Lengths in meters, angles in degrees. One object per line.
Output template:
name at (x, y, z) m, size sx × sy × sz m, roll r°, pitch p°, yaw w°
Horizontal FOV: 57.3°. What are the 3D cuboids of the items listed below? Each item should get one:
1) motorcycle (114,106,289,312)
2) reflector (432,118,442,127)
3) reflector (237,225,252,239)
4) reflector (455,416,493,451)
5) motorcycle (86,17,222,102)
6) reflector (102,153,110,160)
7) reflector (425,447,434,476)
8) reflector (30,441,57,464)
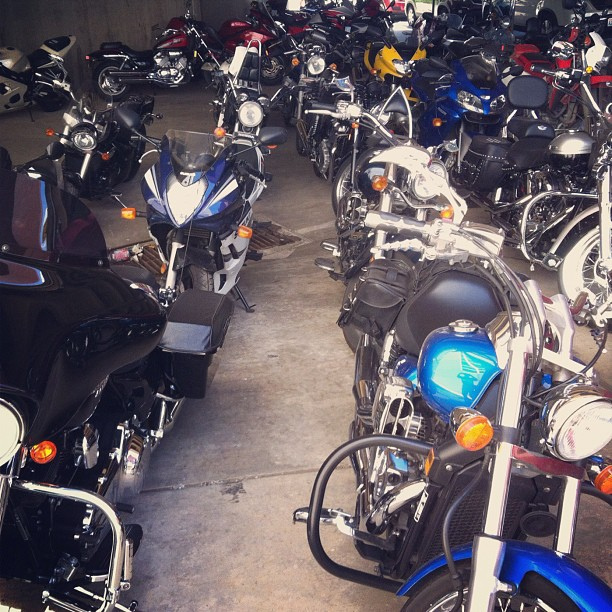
motorcycle at (-0.685, -0.611, 3.588) m, size 0.877 × 0.991 × 1.580 m, roll 12°, pitch 21°, yaw -3°
reflector at (1.375, -1.952, 5.921) m, size 0.082 × 0.097 × 0.077 m, roll 1°, pitch -6°, yaw 7°
reflector at (-0.382, -0.476, 3.609) m, size 0.093 × 0.064 × 0.033 m, roll 12°, pitch 10°, yaw 30°
reflector at (0.427, 0.323, 1.401) m, size 0.102 × 0.102 × 0.044 m, roll 1°, pitch 24°, yaw -12°
motorcycle at (-2.061, -3.609, 8.029) m, size 2.062 × 1.074 × 0.932 m, roll -9°, pitch 27°, yaw -8°
reflector at (-1.971, -1.476, 5.505) m, size 0.061 × 0.071 × 0.085 m, roll 0°, pitch 23°, yaw -13°
reflector at (0.365, 0.468, 1.672) m, size 0.018 × 0.062 × 0.071 m, roll 12°, pitch -7°, yaw 0°
reflector at (-0.762, 0.421, 1.622) m, size 0.070 × 0.062 × 0.023 m, roll 2°, pitch -6°, yaw -18°
